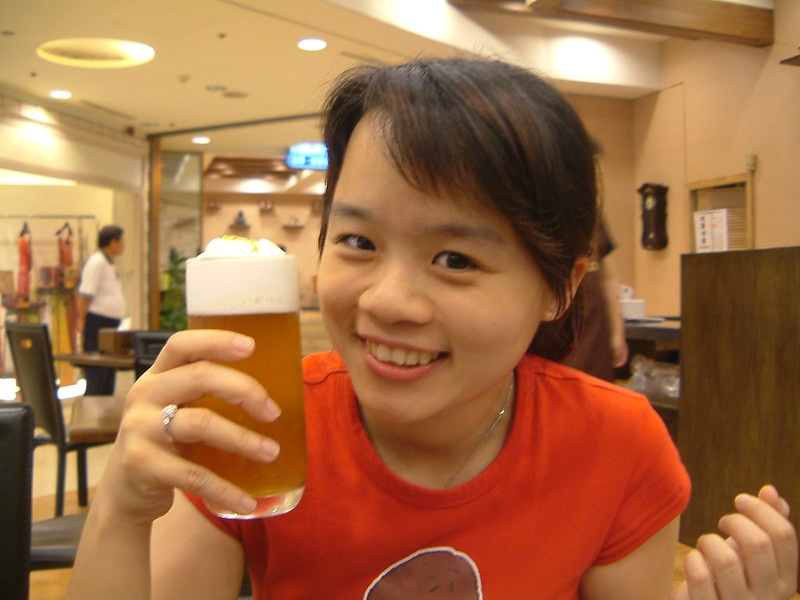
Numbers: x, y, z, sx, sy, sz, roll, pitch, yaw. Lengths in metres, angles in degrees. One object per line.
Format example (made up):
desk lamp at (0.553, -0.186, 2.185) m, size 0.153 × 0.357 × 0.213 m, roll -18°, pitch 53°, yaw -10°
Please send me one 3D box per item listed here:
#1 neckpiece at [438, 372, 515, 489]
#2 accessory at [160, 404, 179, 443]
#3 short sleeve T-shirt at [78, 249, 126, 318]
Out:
neckpiece at (0.150, 0.274, 1.254) m, size 0.033 × 0.279 × 0.031 m, roll 31°, pitch 5°, yaw -40°
accessory at (-0.395, 0.215, 1.061) m, size 0.031 × 0.066 × 0.016 m, roll 1°, pitch 2°, yaw 29°
short sleeve T-shirt at (-3.225, -0.164, 6.621) m, size 0.454 × 0.761 × 0.857 m, roll 2°, pitch -2°, yaw -3°
